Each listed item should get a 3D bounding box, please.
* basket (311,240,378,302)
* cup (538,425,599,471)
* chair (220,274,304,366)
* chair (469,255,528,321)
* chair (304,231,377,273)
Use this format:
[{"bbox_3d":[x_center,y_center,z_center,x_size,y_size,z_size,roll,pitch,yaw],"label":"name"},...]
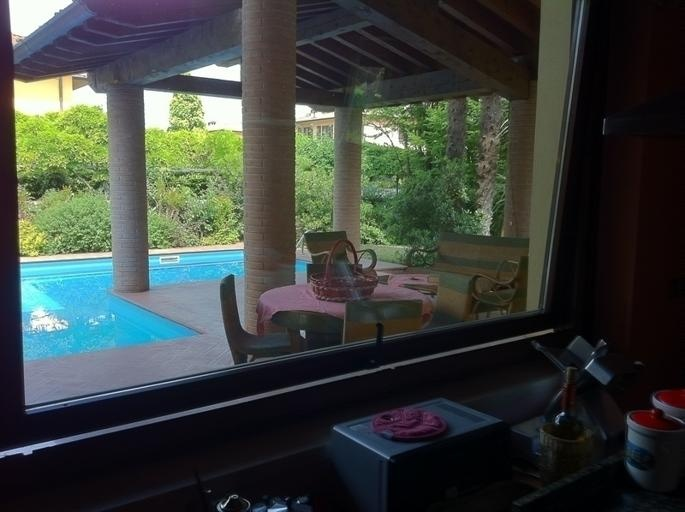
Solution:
[{"bbox_3d":[0.020,0.037,1.369,0.211,0.168,0.141,-5,11,-14],"label":"basket"},{"bbox_3d":[0.442,0.378,0.942,0.089,0.063,0.088,-3,7,0],"label":"cup"},{"bbox_3d":[-0.205,0.201,1.263,0.210,0.258,0.186,-3,1,-12],"label":"chair"},{"bbox_3d":[0.505,0.106,1.611,0.189,0.197,0.175,0,2,-8],"label":"chair"},{"bbox_3d":[-0.013,0.014,1.343,0.145,0.149,0.162,-2,6,-30],"label":"chair"}]
